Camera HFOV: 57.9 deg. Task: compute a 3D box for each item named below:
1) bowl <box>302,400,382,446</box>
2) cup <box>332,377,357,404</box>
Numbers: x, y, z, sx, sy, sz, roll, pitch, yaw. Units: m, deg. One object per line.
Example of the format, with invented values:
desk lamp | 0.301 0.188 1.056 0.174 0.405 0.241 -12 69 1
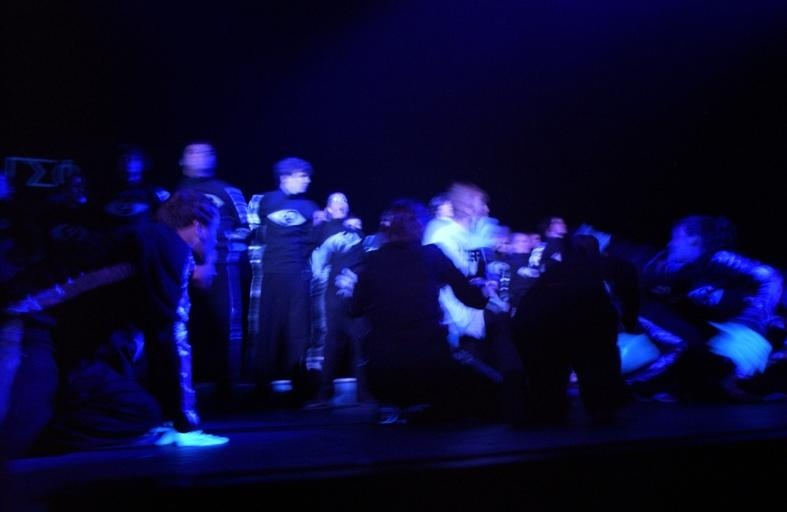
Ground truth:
bowl | -0.407 1.330 6.056 0.593 0.113 0.747 0 1 -19
cup | -0.431 1.233 6.498 0.234 0.212 0.215 0 -12 0
